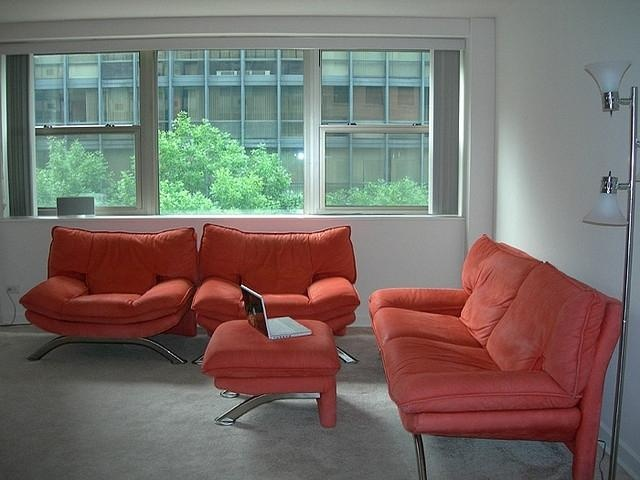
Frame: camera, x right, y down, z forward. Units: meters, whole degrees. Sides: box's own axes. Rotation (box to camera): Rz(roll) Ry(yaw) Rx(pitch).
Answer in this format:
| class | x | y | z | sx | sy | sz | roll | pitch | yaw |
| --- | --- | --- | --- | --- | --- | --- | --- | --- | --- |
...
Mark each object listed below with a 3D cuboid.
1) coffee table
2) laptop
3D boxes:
| class | x | y | z | sx | sy | sz | roll | pitch | yaw |
| --- | --- | --- | --- | --- | --- | --- | --- | --- | --- |
| coffee table | -0.335 | 0.847 | 3.485 | 0.734 | 0.430 | 0.690 | 2 | 1 | -7 |
| laptop | -0.311 | 0.432 | 3.685 | 0.376 | 0.269 | 0.496 | -3 | 2 | -21 |
